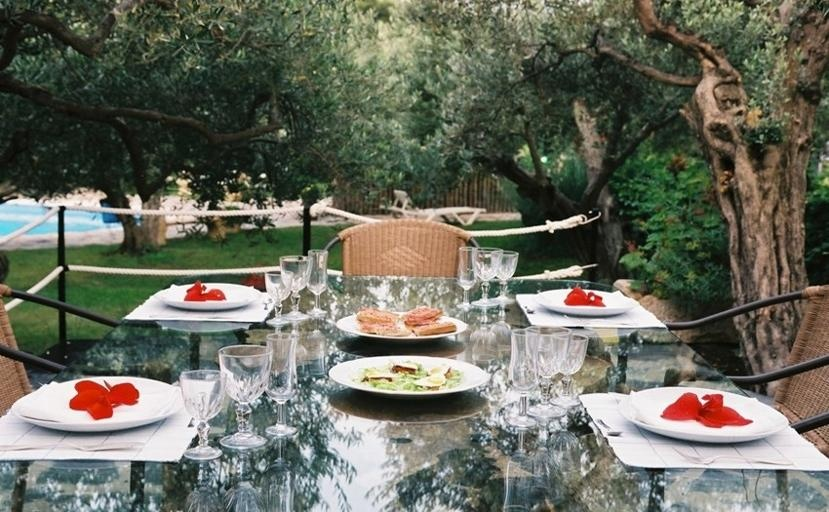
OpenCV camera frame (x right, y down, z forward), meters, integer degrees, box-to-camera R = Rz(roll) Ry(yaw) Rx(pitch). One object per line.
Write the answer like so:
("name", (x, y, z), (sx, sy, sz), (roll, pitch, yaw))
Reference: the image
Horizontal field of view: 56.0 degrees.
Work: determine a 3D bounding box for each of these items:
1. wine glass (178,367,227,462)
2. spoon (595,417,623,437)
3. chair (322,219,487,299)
("wine glass", (-0.959, 0.698, 3.525), (0.204, 0.386, 0.240), (-7, 14, -16))
("spoon", (0.891, 0.797, 3.600), (0.053, 0.020, 0.108), (0, 33, -10))
("chair", (-0.078, -0.061, 5.373), (0.739, 0.797, 0.596), (0, -2, -1))
